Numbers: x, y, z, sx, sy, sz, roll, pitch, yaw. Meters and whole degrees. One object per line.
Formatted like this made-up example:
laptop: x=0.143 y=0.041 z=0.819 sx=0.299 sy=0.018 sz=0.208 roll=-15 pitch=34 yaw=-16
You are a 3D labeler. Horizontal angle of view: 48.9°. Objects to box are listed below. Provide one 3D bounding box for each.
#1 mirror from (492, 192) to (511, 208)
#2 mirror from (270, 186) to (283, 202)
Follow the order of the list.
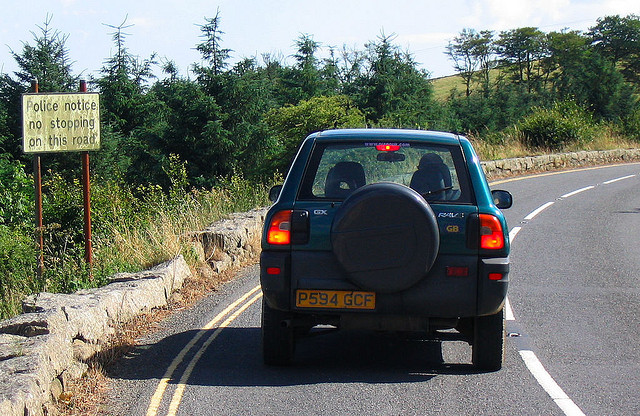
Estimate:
mirror: x=2.802 y=-0.133 z=10.888 sx=0.245 sy=0.235 sz=0.033 roll=-1 pitch=12 yaw=6
mirror: x=-0.673 y=-0.219 z=10.956 sx=0.247 sy=0.331 sz=0.034 roll=4 pitch=-8 yaw=-1
